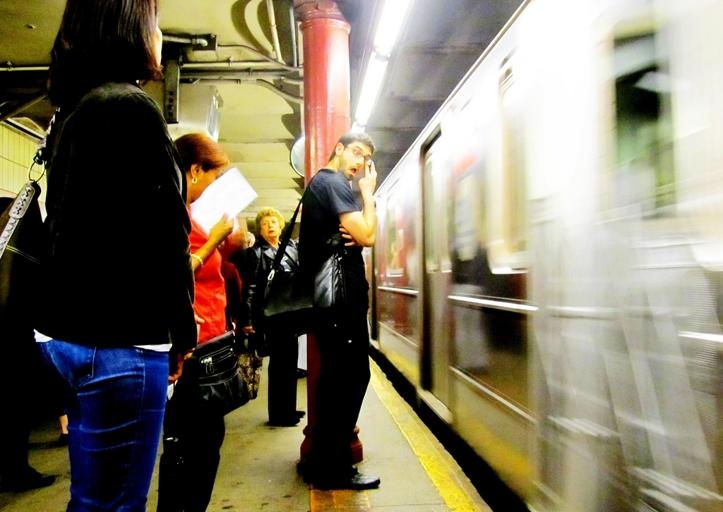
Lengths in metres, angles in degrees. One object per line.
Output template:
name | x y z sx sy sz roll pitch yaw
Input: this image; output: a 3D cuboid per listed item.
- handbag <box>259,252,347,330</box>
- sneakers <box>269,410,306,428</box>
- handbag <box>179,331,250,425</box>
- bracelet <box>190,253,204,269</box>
handbag | -0.374 0.170 3.215 0.472 0.469 0.199 4 2 21
sneakers | -0.666 1.437 4.839 0.186 0.060 0.187 2 -6 -25
handbag | -0.691 0.574 2.592 0.276 0.355 0.377 -15 -7 -46
bracelet | -0.733 0.018 2.441 0.047 0.045 0.047 16 50 45
